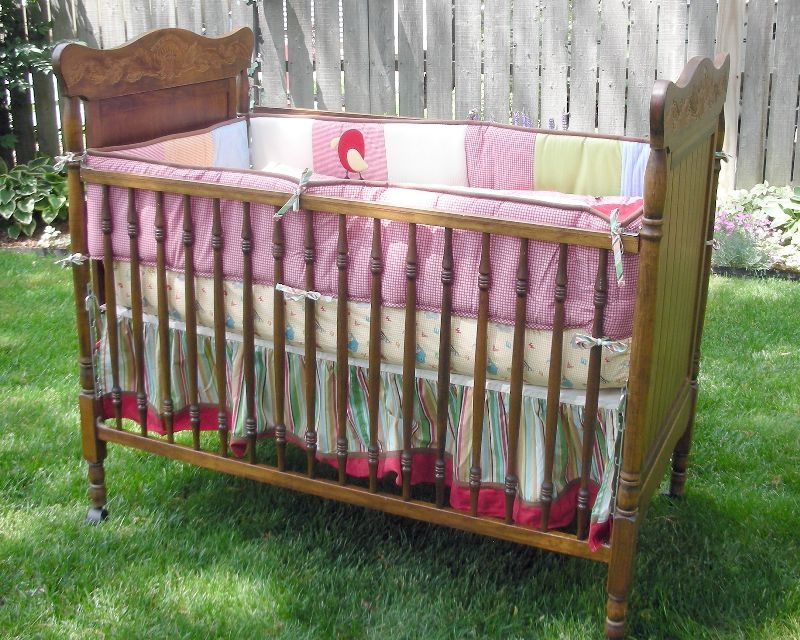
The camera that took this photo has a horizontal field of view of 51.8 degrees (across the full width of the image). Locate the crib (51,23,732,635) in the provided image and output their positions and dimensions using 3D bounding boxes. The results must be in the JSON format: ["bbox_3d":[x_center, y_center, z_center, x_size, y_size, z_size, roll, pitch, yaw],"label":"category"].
[{"bbox_3d":[0.043,0.039,3.378,2.125,2.149,1.762,11,28,23],"label":"crib"}]
